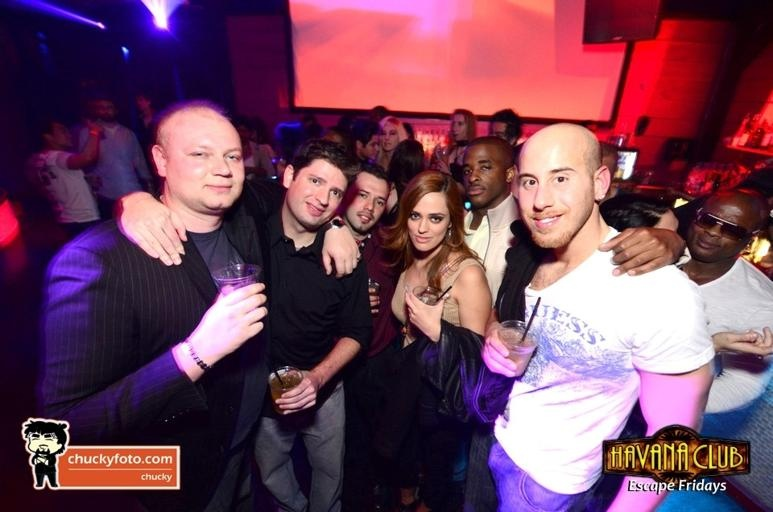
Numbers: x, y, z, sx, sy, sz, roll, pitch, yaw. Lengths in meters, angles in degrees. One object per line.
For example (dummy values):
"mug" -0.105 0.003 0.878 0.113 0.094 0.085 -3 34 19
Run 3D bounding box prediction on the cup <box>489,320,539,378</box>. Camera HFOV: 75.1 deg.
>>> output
"cup" 1.059 0.697 4.024 0.400 0.356 0.414 0 18 0

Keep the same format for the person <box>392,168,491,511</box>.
"person" 0.416 0.851 4.690 0.901 3.029 1.311 2 24 -1

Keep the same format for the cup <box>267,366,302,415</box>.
"cup" -0.822 1.043 4.102 0.334 0.290 0.319 2 14 -1

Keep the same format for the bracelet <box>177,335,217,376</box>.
"bracelet" -1.370 0.704 3.620 0.066 0.246 0.203 -50 16 -23
